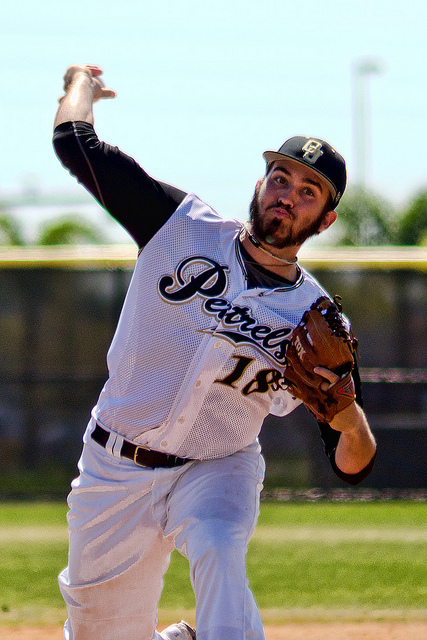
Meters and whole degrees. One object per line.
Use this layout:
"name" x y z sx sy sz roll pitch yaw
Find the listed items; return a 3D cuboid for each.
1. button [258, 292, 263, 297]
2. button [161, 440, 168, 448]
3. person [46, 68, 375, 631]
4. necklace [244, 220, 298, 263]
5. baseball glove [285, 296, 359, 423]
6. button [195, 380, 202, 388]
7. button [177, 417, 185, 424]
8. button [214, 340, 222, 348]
"button" 0.219 -0.118 6.799 0.016 0.022 0.012 -3 7 -25
"button" -0.228 0.569 6.718 0.029 0.031 0.007 -2 5 5
"person" -0.018 0.176 6.776 1.437 2.703 1.173 0 7 -2
"necklace" 0.268 -0.370 6.893 0.251 0.198 0.193 1 7 1
"baseball glove" 0.501 0.193 6.613 0.361 0.502 0.156 1 3 -39
"button" -0.071 0.290 6.641 0.031 0.034 0.005 0 7 -1
"button" -0.151 0.456 6.662 0.026 0.032 0.007 0 7 -1
"button" 0.019 0.112 6.691 0.038 0.027 0.013 -1 7 -15
